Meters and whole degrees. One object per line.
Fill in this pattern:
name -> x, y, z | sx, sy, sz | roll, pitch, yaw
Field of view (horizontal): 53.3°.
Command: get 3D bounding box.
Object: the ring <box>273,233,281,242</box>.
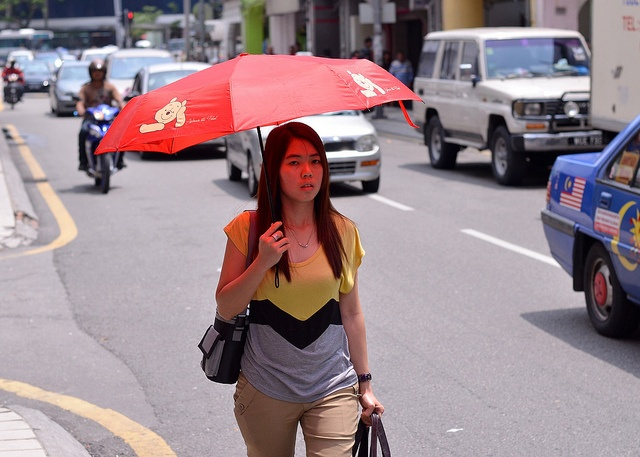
ring -> -0.181, 0.034, 2.595 | 0.028, 0.033, 0.012 | 2, -1, -14

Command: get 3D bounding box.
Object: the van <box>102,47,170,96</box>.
van -> -7.582, -6.914, 25.902 | 1.997, 2.035, 3.899 | -2, 8, -12

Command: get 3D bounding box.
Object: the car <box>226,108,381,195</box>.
car -> -0.408, -1.427, 13.326 | 1.568, 1.760, 3.180 | -4, 3, -26

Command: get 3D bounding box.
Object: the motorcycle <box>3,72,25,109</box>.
motorcycle -> -16.855, -7.626, 34.896 | 0.706, 1.835, 1.688 | -4, 12, -16

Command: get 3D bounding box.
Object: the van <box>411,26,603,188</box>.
van -> 4.149, -3.073, 14.882 | 2.729, 3.020, 5.300 | -4, 9, -18
